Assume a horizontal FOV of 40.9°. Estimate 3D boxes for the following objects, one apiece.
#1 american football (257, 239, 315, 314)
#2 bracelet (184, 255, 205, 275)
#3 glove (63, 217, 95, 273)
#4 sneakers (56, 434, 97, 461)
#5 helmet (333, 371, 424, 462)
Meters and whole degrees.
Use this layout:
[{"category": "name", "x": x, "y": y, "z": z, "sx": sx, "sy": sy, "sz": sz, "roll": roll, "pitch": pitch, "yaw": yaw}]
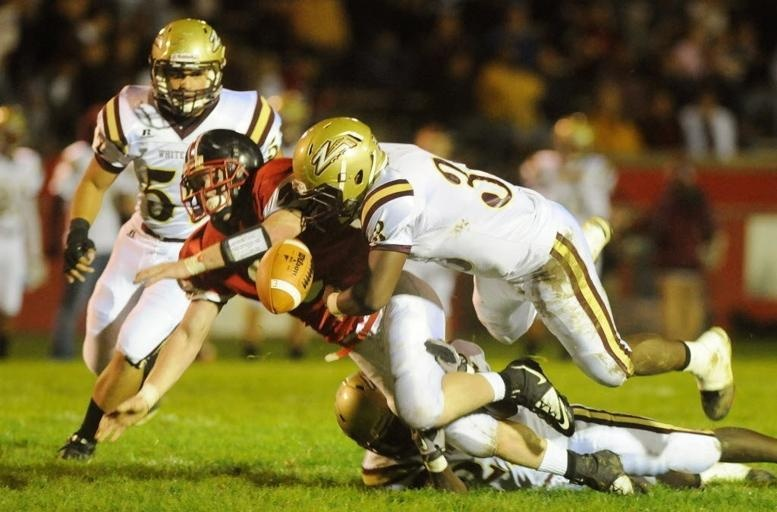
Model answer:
[{"category": "american football", "x": -0.621, "y": 0.141, "z": 6.648, "sx": 0.278, "sy": 0.465, "sz": 0.319, "roll": -2, "pitch": -25, "yaw": 41}, {"category": "bracelet", "x": -1.239, "y": 0.068, "z": 6.683, "sx": 0.121, "sy": 0.121, "sz": 0.052, "roll": -8, "pitch": -12, "yaw": 7}, {"category": "glove", "x": -2.200, "y": -0.066, "z": 7.399, "sx": 0.139, "sy": 0.376, "sz": 0.239, "roll": -1, "pitch": -21, "yaw": -35}, {"category": "sneakers", "x": -2.189, "y": 1.374, "z": 7.360, "sx": 0.175, "sy": 0.167, "sz": 0.229, "roll": -4, "pitch": -24, "yaw": -11}, {"category": "helmet", "x": -0.071, "y": 1.099, "z": 6.849, "sx": 0.537, "sy": 0.424, "sz": 0.550, "roll": 31, "pitch": -4, "yaw": -37}]
